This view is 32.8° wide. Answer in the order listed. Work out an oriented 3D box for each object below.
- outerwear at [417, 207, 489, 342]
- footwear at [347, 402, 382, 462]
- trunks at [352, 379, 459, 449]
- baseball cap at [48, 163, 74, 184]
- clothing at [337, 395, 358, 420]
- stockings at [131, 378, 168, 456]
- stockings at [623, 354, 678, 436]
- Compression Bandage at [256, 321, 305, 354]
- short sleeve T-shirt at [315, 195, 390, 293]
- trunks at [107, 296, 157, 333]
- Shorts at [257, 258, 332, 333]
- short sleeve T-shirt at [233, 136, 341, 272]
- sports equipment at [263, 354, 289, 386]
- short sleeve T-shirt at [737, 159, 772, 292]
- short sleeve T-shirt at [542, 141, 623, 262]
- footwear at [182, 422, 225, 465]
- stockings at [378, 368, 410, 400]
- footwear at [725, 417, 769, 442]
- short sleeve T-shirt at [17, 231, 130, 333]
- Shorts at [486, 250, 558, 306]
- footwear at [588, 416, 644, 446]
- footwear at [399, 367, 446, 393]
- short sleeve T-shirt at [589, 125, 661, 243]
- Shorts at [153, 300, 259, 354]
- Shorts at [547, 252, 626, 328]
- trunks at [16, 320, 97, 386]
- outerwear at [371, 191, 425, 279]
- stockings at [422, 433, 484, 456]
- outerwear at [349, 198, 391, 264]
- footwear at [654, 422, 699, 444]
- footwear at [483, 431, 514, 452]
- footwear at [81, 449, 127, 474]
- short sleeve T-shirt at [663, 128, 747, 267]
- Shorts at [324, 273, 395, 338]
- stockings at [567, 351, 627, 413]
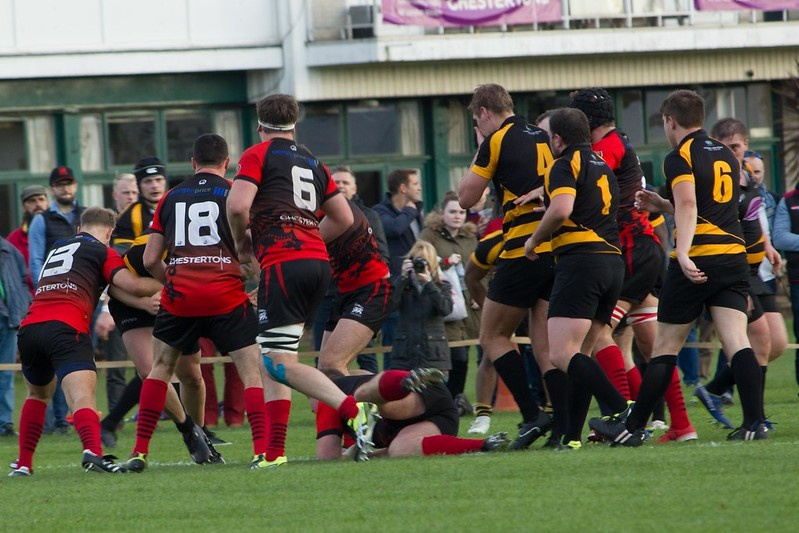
[{"bbox_3d":[0.675,0.064,15.986,0.686,1.722,0.673,-9,22,-6],"label":"outerwear"},{"bbox_3d":[-0.319,1.469,12.491,0.280,0.640,0.224,-6,1,12],"label":"footwear"},{"bbox_3d":[0.076,1.375,12.710,0.902,0.405,0.581,1,-10,-11],"label":"trunks"},{"bbox_3d":[-3.998,-1.095,16.141,0.200,0.181,0.300,0,-4,-13],"label":"baseball cap"},{"bbox_3d":[-0.463,1.300,12.400,0.198,0.208,0.101,0,7,29],"label":"clothing"},{"bbox_3d":[-2.380,1.474,12.942,0.214,0.602,0.168,23,-29,-35],"label":"stockings"},{"bbox_3d":[2.391,1.195,12.824,0.560,0.711,0.239,-8,8,-38],"label":"stockings"},{"bbox_3d":[-1.088,0.660,12.604,0.313,0.245,0.272,0,4,13],"label":"Compression Bandage"},{"bbox_3d":[-0.433,-0.293,13.454,0.545,0.754,0.401,-14,34,-3],"label":"short sleeve T-shirt"},{"bbox_3d":[-2.742,0.520,13.902,0.405,0.317,0.383,-6,-5,-30],"label":"trunks"},{"bbox_3d":[-0.982,0.156,12.663,0.593,0.666,0.793,7,5,31],"label":"Shorts"},{"bbox_3d":[-1.065,-0.607,12.621,0.909,1.182,0.448,-4,6,-8],"label":"short sleeve T-shirt"},{"bbox_3d":[-1.145,0.956,12.564,0.284,0.157,0.221,47,13,27],"label":"sports equipment"},{"bbox_3d":[3.978,-0.412,15.425,0.453,1.714,0.535,-2,4,-16],"label":"short sleeve T-shirt"},{"bbox_3d":[1.692,-0.667,12.997,0.657,1.137,1.240,-6,5,30],"label":"short sleeve T-shirt"},{"bbox_3d":[-1.967,1.785,13.545,0.136,0.387,0.173,-37,-5,23],"label":"footwear"},{"bbox_3d":[-0.074,1.080,12.568,0.189,0.240,0.268,-2,19,-28],"label":"stockings"},{"bbox_3d":[3.254,1.545,12.798,0.391,0.164,0.174,-3,-2,13],"label":"footwear"},{"bbox_3d":[-3.231,0.238,13.241,1.093,1.093,0.591,0,-33,19],"label":"short sleeve T-shirt"},{"bbox_3d":[1.208,0.251,13.327,0.640,0.753,1.066,-5,7,7],"label":"Shorts"},{"bbox_3d":[2.035,1.580,12.927,0.575,0.279,0.207,13,2,9],"label":"footwear"},{"bbox_3d":[0.220,1.037,12.568,0.337,0.128,0.207,-11,45,-16],"label":"footwear"},{"bbox_3d":[2.058,-0.785,13.529,0.816,1.176,0.885,0,-6,31],"label":"short sleeve T-shirt"},{"bbox_3d":[-1.806,0.668,12.992,1.107,0.654,0.425,2,32,-2],"label":"Shorts"},{"bbox_3d":[1.756,0.207,12.945,0.847,0.804,0.569,3,11,-43],"label":"Shorts"},{"bbox_3d":[-3.217,0.759,13.093,0.928,0.692,0.556,-5,5,31],"label":"trunks"},{"bbox_3d":[-0.120,-0.374,16.497,0.505,0.992,0.653,-5,10,-34],"label":"outerwear"},{"bbox_3d":[0.464,1.664,12.619,0.379,0.138,0.235,2,-13,-28],"label":"stockings"},{"bbox_3d":[-0.324,-0.367,14.397,0.587,0.614,0.222,-18,-1,11],"label":"outerwear"},{"bbox_3d":[2.647,1.618,13.013,0.424,0.188,0.155,0,-6,-2],"label":"footwear"},{"bbox_3d":[0.934,1.651,12.815,0.156,0.163,0.400,1,7,31],"label":"footwear"},{"bbox_3d":[-2.785,1.828,12.797,0.487,0.202,0.177,7,-1,-8],"label":"footwear"},{"bbox_3d":[2.918,-0.664,13.080,1.052,1.253,0.600,-5,-2,-41],"label":"short sleeve T-shirt"},{"bbox_3d":[-0.368,0.441,13.539,0.511,0.697,0.716,24,-28,-39],"label":"Shorts"},{"bbox_3d":[1.843,1.102,12.734,0.546,0.618,0.252,-2,6,7],"label":"stockings"}]
